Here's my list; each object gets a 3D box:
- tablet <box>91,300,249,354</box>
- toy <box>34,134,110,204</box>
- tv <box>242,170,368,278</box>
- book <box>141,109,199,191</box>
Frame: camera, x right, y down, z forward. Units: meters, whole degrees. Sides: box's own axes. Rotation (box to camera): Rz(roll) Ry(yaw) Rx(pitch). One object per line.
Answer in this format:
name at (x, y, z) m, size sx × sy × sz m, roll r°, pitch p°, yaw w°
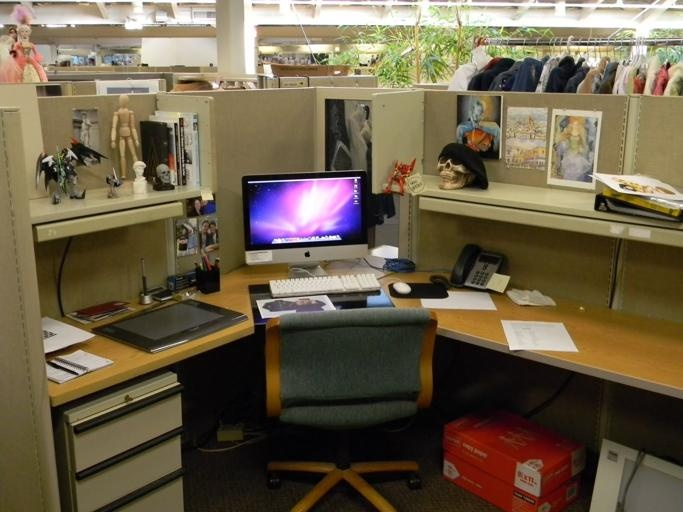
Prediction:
tablet at (-0.725, 0.287, 2.351) m, size 0.489 × 0.027 × 0.439 m, roll 10°, pitch 22°, yaw 29°
toy at (-1.166, -0.371, 2.342) m, size 0.285 × 0.251 × 0.089 m, roll -8°, pitch 12°, yaw -12°
tv at (-0.190, -0.176, 2.842) m, size 0.507 × 0.441 × 0.166 m, roll -3°, pitch 10°, yaw -10°
book at (-0.776, -0.471, 2.501) m, size 0.289 × 0.340 × 0.187 m, roll 16°, pitch 21°, yaw 38°
